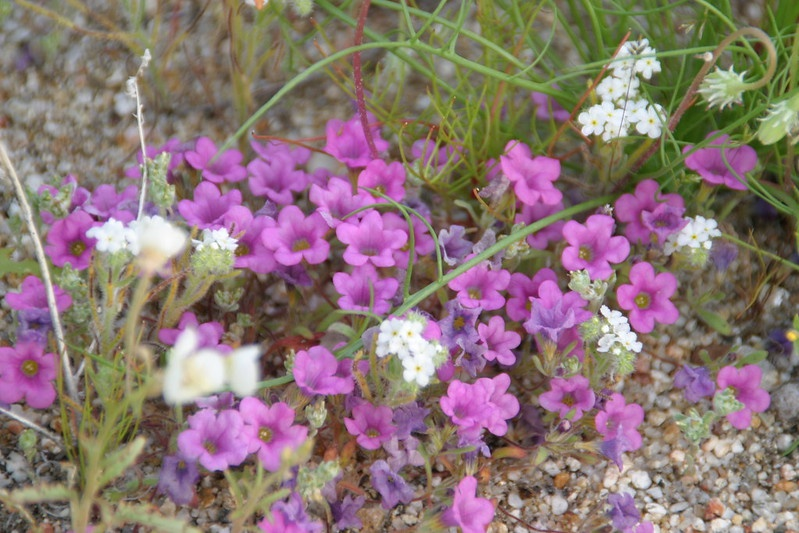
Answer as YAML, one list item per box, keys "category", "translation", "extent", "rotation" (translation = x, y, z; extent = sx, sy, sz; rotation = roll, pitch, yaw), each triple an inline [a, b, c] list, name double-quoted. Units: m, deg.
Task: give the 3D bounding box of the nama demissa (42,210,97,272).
- category: "nama demissa"
  translation: [-1.276, -0.099, 2.936]
  extent: [0.201, 0.106, 0.257]
  rotation: [-5, 86, -2]

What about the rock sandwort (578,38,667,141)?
- category: "rock sandwort"
  translation: [0.915, -0.689, 3.109]
  extent: [0.369, 0.103, 0.450]
  rotation: [-4, 101, -24]
